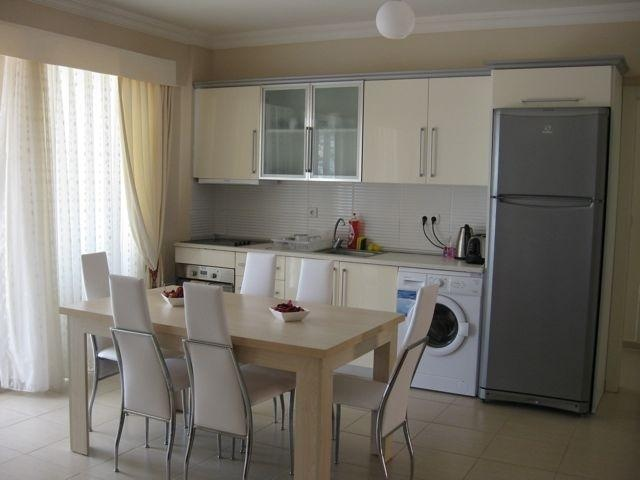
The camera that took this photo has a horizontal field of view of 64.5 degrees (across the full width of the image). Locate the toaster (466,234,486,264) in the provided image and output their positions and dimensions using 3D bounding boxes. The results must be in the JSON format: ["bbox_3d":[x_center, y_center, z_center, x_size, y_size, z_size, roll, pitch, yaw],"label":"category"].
[{"bbox_3d":[1.483,0.094,4.677,0.163,0.254,0.246,5,9,28],"label":"toaster"}]

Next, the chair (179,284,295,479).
[{"bbox_3d":[-0.506,0.877,3.133,0.565,1.313,0.637,6,9,34],"label":"chair"}]

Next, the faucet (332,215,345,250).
[{"bbox_3d":[0.200,-0.074,5.447,0.124,0.326,0.233,1,7,3],"label":"faucet"}]

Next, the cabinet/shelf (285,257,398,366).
[{"bbox_3d":[0.196,0.509,3.727,0.940,0.918,0.384,2,2,25],"label":"cabinet/shelf"}]

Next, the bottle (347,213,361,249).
[{"bbox_3d":[0.378,-0.096,5.410,0.144,0.375,0.137,1,7,0],"label":"bottle"}]

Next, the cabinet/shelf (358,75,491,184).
[{"bbox_3d":[1.016,-1.039,4.680,0.978,0.867,0.390,3,5,22],"label":"cabinet/shelf"}]
